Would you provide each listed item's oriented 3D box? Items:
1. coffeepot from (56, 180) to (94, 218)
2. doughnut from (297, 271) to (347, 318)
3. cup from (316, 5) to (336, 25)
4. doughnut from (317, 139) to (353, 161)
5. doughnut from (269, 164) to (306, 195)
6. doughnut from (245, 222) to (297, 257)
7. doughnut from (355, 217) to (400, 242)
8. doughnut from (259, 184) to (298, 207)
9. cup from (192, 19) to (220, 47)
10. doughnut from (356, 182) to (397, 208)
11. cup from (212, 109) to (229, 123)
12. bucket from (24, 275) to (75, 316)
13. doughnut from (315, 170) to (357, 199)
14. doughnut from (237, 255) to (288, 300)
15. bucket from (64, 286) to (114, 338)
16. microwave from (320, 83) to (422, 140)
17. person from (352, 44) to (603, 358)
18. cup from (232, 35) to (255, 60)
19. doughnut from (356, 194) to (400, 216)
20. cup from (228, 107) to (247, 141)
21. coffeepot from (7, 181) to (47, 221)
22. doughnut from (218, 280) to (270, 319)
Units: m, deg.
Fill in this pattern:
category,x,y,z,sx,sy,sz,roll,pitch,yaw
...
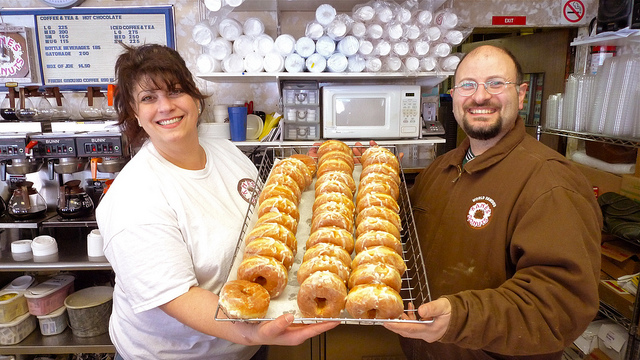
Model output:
category,x,y,z,sx,sy,sz,roll,pitch,yaw
coffeepot,-2.105,0.166,3.260,0.250,0.315,0.131,-9,11,-33
doughnut,0.013,0.552,1.802,0.235,0.226,0.095,-4,9,-2
cup,0.055,-1.484,3.393,0.175,0.164,0.145,10,33,-6
doughnut,0.094,-0.218,2.405,0.150,0.047,0.144,-24,39,-37
doughnut,-0.200,0.008,2.190,0.215,0.067,0.207,7,26,14
doughnut,-0.237,0.307,2.008,0.170,0.176,0.057,40,-20,4
doughnut,0.300,0.234,2.057,0.208,0.065,0.200,6,-13,-14
doughnut,-0.224,0.115,2.146,0.079,0.220,0.231,26,-48,-34
cup,-1.028,-1.320,3.410,0.216,0.208,0.199,-10,47,10
doughnut,0.344,0.047,2.214,0.267,0.083,0.261,-3,7,9
cup,-0.969,-0.636,3.741,0.132,0.096,0.128,-2,-1,0
bucket,-2.196,0.950,3.193,0.299,0.234,0.328,0,10,0
doughnut,0.110,0.012,2.158,0.173,0.168,0.056,31,18,-4
doughnut,-0.264,0.454,1.832,0.220,0.212,0.077,27,26,-12
bucket,-1.903,1.103,3.179,0.347,0.336,0.274,-9,10,-30
microwave,0.476,-0.687,3.459,0.854,0.455,0.591,0,3,0
person,1.019,0.043,2.067,0.985,1.594,0.837,-2,9,13
cup,-0.673,-1.192,3.537,0.207,0.193,0.207,-1,-7,0
doughnut,0.319,0.120,2.165,0.237,0.075,0.240,0,-5,40
cup,-0.771,-0.540,3.634,0.168,0.319,0.092,-6,9,-12
coffeepot,-2.474,0.200,3.257,0.215,0.410,0.209,1,0,-2
doughnut,-0.352,0.559,1.772,0.214,0.161,0.095,-2,9,7
